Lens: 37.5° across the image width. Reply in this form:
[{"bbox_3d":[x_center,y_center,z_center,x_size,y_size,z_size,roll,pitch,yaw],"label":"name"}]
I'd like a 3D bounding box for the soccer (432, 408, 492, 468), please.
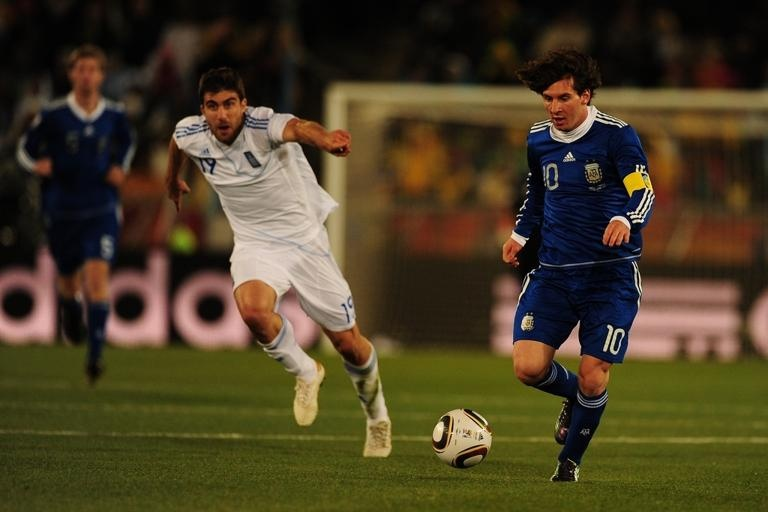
[{"bbox_3d":[0.748,1.754,10.794,0.561,0.515,0.514,1,-20,1],"label":"soccer"}]

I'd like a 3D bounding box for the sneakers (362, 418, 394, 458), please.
[{"bbox_3d":[-0.044,1.740,11.076,0.275,0.258,0.624,-1,22,1],"label":"sneakers"}]

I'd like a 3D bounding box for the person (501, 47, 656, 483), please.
[{"bbox_3d":[1.829,0.044,10.562,1.293,3.925,0.910,4,5,22],"label":"person"}]

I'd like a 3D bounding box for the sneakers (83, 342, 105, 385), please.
[{"bbox_3d":[-3.156,1.199,12.369,0.190,0.400,0.164,1,5,-16],"label":"sneakers"}]

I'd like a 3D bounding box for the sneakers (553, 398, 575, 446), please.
[{"bbox_3d":[1.802,1.640,11.285,0.212,0.445,0.154,12,-4,-37],"label":"sneakers"}]
